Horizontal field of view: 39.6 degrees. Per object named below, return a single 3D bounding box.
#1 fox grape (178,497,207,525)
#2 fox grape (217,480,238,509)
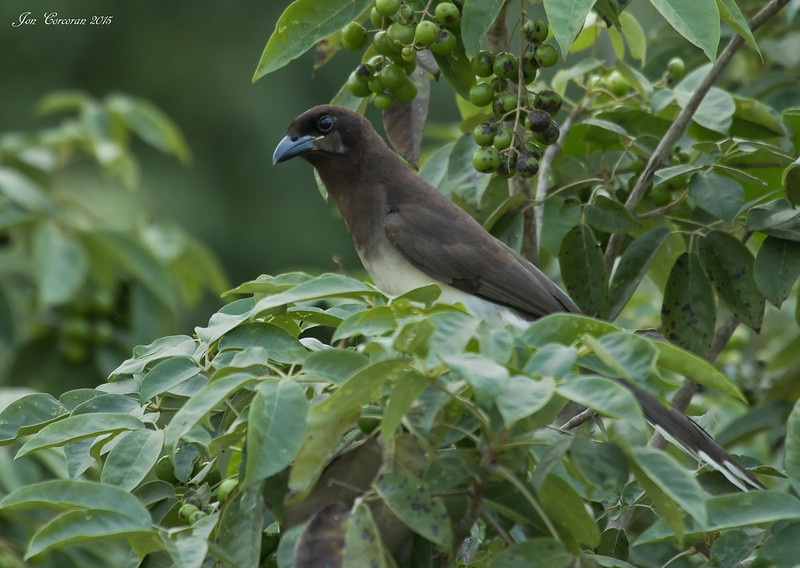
[{"bbox_3d":[-0.634,0.698,3.422,0.046,0.044,0.068,-43,17,21],"label":"fox grape"},{"bbox_3d":[-0.538,0.648,3.428,0.088,0.059,0.021,-51,-17,9],"label":"fox grape"}]
